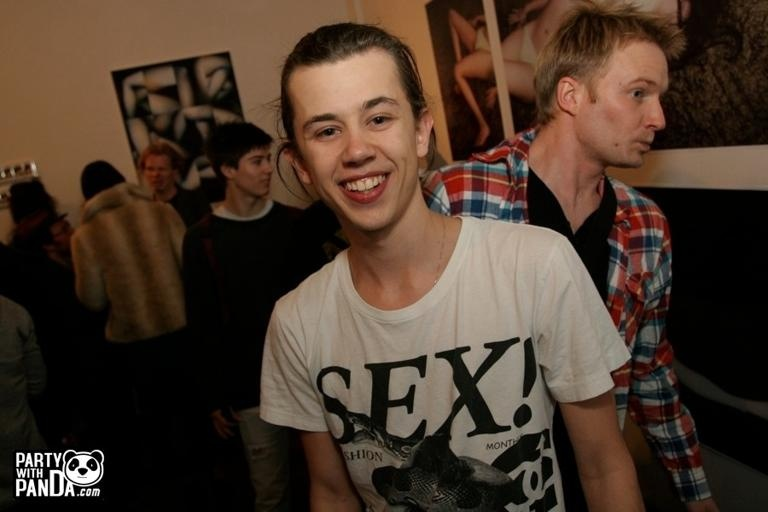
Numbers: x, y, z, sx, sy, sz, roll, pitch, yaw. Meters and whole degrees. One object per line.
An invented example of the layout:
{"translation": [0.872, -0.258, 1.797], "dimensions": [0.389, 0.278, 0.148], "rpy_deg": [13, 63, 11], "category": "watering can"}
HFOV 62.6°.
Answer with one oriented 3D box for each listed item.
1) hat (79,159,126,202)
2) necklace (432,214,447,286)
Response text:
{"translation": [-1.881, -0.517, 4.286], "dimensions": [0.273, 0.290, 0.204], "rpy_deg": [-25, 4, -6], "category": "hat"}
{"translation": [0.204, -0.020, 2.317], "dimensions": [0.040, 0.212, 0.042], "rpy_deg": [4, -17, -5], "category": "necklace"}
